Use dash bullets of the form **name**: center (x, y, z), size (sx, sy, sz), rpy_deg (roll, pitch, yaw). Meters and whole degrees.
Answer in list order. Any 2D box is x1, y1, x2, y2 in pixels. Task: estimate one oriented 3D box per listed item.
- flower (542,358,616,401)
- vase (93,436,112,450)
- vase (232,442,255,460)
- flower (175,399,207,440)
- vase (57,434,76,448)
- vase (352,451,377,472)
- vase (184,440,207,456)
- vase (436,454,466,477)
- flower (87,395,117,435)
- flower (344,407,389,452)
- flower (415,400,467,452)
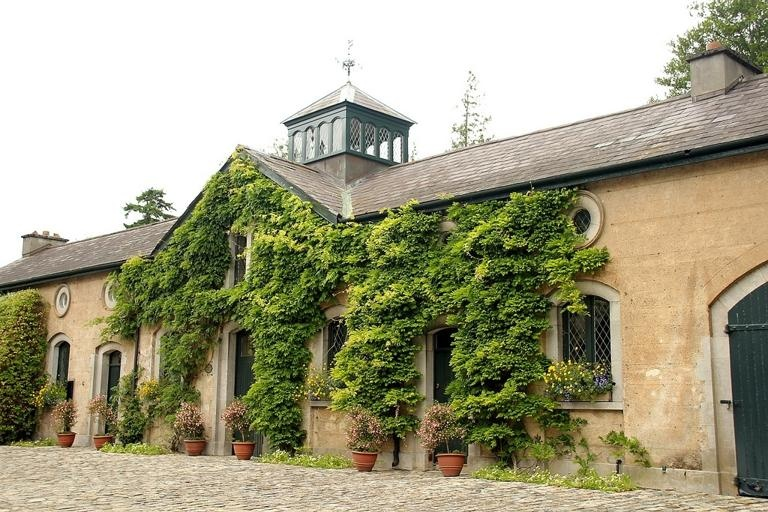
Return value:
- **flower**: center (4.459, 2.871, 22.360), size (1.513, 0.757, 1.522), rpy_deg (4, 10, 29)
- **vase**: center (-8.601, 5.674, 29.367), size (0.522, 0.459, 0.655), rpy_deg (5, -19, -15)
- **vase**: center (-3.796, 5.219, 25.853), size (0.508, 0.341, 0.492), rpy_deg (2, -12, -9)
- **flower**: center (-5.497, 4.615, 27.139), size (1.038, 1.214, 0.957), rpy_deg (-5, -16, 15)
- **vase**: center (-10.072, 5.833, 30.524), size (0.470, 0.316, 0.457), rpy_deg (6, -16, -36)
- **vase**: center (-0.517, 4.966, 23.331), size (0.527, 0.356, 0.510), rpy_deg (2, -13, -2)
- **vase**: center (-5.325, 5.367, 27.128), size (0.484, 0.311, 0.474), rpy_deg (7, -11, -43)
- **vase**: center (1.559, 4.914, 22.566), size (0.571, 0.384, 0.558), rpy_deg (-2, -19, 7)
- **flower**: center (-8.791, 4.978, 29.923), size (0.895, 1.271, 1.025), rpy_deg (-10, -12, -1)
- **flower**: center (-0.584, 4.202, 23.742), size (1.271, 1.203, 1.003), rpy_deg (2, 12, 8)
- **flower**: center (1.333, 4.187, 23.358), size (1.114, 1.256, 1.978), rpy_deg (-1, -18, 2)
